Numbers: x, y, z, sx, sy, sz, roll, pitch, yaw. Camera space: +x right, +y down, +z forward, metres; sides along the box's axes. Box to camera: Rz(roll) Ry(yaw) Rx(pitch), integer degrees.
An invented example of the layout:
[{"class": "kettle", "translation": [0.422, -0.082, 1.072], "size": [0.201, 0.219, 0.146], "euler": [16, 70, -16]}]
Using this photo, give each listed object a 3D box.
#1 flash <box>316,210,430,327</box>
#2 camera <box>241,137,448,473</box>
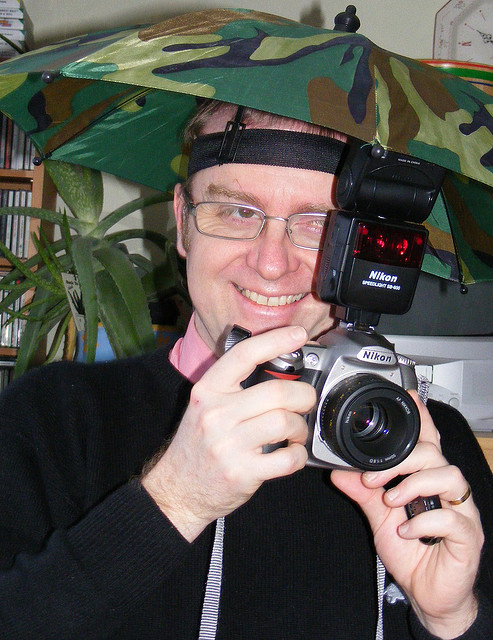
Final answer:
[{"class": "flash", "translation": [0.159, -0.062, 0.709], "size": [0.113, 0.137, 0.073], "euler": [7, 10, -15]}, {"class": "camera", "translation": [0.140, 0.006, 0.677], "size": [0.204, 0.396, 0.330], "euler": [16, 42, 20]}]
